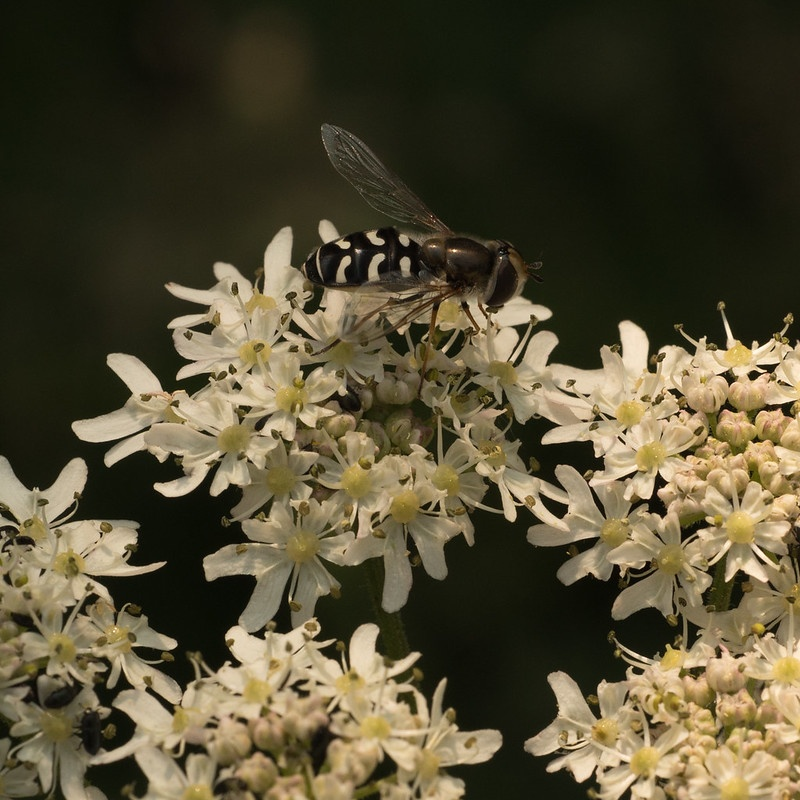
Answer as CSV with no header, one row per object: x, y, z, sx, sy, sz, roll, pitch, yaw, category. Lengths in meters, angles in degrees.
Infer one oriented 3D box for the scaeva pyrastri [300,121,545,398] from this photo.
0.003,-0.624,7.901,1.429,1.075,1.823,-5,-78,-21,scaeva pyrastri
